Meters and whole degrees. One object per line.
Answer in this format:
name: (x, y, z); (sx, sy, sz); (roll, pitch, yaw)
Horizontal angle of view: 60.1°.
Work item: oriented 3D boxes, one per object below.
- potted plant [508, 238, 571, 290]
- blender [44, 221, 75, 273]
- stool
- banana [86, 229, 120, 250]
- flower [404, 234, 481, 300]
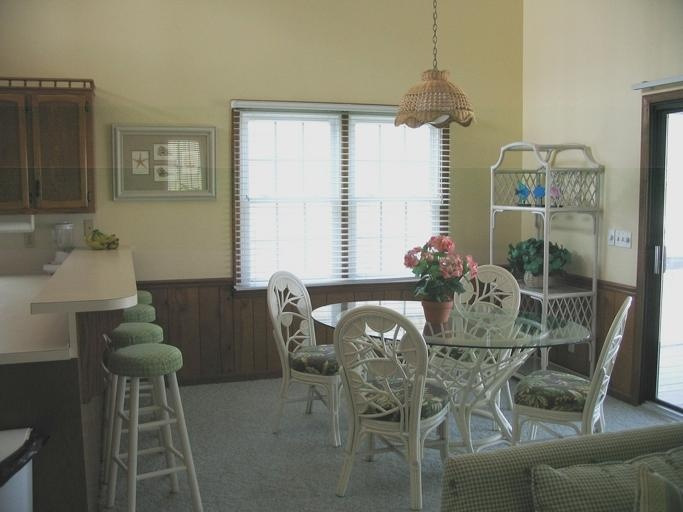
potted plant: (1.501, 0.036, 4.466); (0.346, 0.282, 0.370); (-1, 4, -12)
blender: (-2.000, -0.045, 4.183); (0.231, 0.373, 0.368); (-5, 12, -26)
stool: (-1.072, 0.813, 3.258); (0.297, 0.726, 1.027); (-1, 2, -16)
banana: (-1.669, -0.103, 4.146); (0.166, 0.115, 0.165); (3, 7, -6)
flower: (0.567, 0.048, 3.280); (0.351, 0.400, 0.313); (-2, 7, -28)
